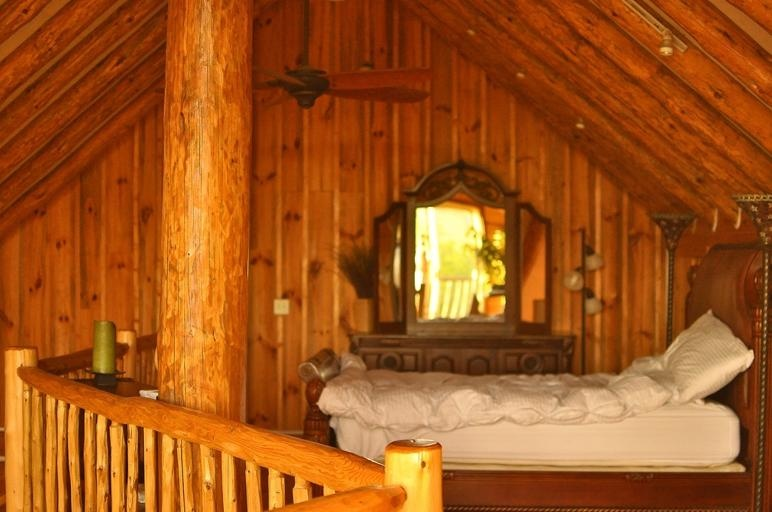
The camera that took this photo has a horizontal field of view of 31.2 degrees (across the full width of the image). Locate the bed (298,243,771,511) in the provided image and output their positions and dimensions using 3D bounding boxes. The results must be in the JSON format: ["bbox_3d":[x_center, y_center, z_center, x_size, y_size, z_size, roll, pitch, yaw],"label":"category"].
[{"bbox_3d":[1.055,0.798,9.236,2.613,1.653,1.552,-1,-3,2],"label":"bed"}]

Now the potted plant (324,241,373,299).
[{"bbox_3d":[-0.210,0.128,10.711,0.396,0.421,0.351,-6,-9,44],"label":"potted plant"}]

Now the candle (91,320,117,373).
[{"bbox_3d":[-1.696,0.574,8.383,0.150,0.304,0.262,3,-17,-12],"label":"candle"}]

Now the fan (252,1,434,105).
[{"bbox_3d":[-0.250,-1.111,8.908,0.855,0.455,0.856,3,-4,-17],"label":"fan"}]

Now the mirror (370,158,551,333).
[{"bbox_3d":[0.591,-0.022,10.517,1.310,1.323,0.087,0,-3,0],"label":"mirror"}]
